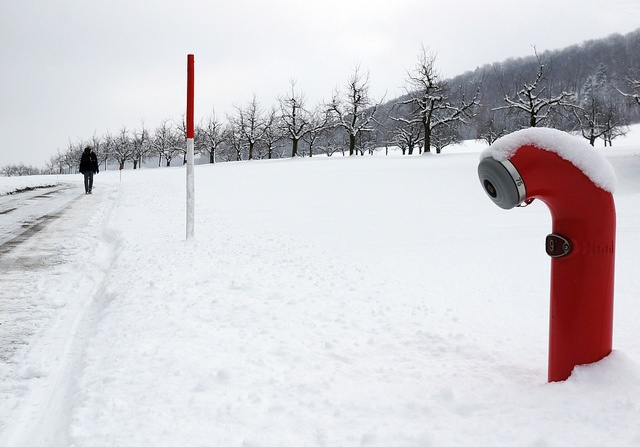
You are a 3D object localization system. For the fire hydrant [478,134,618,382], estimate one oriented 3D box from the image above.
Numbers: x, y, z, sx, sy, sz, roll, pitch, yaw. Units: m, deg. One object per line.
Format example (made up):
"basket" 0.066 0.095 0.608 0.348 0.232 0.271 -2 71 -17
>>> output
"fire hydrant" 1.897 0.269 3.845 0.983 2.048 0.394 4 11 16
